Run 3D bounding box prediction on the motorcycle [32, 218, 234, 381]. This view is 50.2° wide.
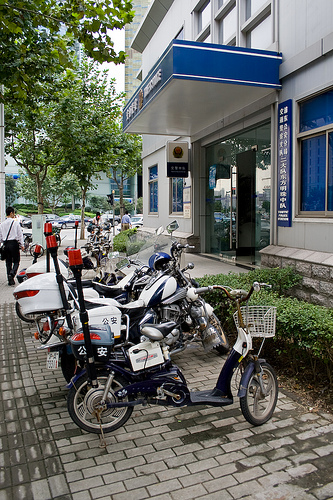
[{"bbox_3d":[-0.211,0.420,3.252,1.791,1.216,0.620,-9,22,-44],"label":"motorcycle"}]

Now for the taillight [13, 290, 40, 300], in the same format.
[{"bbox_3d":[-1.210,0.385,3.041,0.105,0.090,0.345,0,-2,-43],"label":"taillight"}]

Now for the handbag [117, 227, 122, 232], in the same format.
[{"bbox_3d":[-3.703,-1.593,28.413,0.221,0.439,0.264,5,10,-1],"label":"handbag"}]

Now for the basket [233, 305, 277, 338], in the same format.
[{"bbox_3d":[0.671,0.527,2.659,0.329,0.236,0.248,-7,-20,27],"label":"basket"}]

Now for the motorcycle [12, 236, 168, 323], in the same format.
[{"bbox_3d":[-0.996,0.344,4.636,1.829,1.044,0.929,-20,26,-26],"label":"motorcycle"}]

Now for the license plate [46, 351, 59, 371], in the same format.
[{"bbox_3d":[-0.863,0.841,2.723,0.077,0.123,0.169,-1,-2,-16],"label":"license plate"}]

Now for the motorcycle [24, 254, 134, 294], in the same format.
[{"bbox_3d":[-1.056,0.300,4.688,1.054,0.639,0.541,-3,16,-13],"label":"motorcycle"}]

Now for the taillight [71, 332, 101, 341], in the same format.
[{"bbox_3d":[-0.509,0.552,2.248,0.102,0.031,0.070,3,7,-6],"label":"taillight"}]

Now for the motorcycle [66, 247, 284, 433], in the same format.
[{"bbox_3d":[0.158,0.689,2.549,1.743,1.196,0.655,5,-6,-18],"label":"motorcycle"}]

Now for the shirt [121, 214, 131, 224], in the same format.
[{"bbox_3d":[-2.885,-2.022,24.864,0.889,0.854,0.503,3,18,3],"label":"shirt"}]
